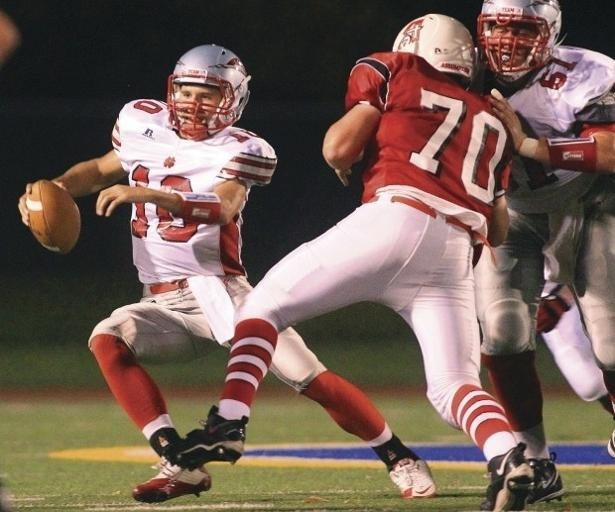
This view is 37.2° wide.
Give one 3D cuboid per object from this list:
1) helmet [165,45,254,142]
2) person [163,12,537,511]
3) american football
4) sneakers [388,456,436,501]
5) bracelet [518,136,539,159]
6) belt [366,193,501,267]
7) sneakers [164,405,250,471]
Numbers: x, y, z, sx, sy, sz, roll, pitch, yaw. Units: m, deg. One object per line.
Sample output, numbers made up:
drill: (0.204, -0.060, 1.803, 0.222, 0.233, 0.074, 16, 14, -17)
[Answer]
helmet: (-0.411, -0.693, 3.806, 0.398, 0.311, 0.399, 2, 13, -10)
person: (0.225, -0.020, 3.072, 1.011, 1.532, 1.056, 2, 19, 11)
american football: (-0.963, -0.152, 3.470, 0.198, 0.290, 0.182, -11, 21, -25)
sneakers: (0.380, 0.826, 3.411, 0.109, 0.068, 0.223, 9, 9, -20)
bracelet: (0.816, -0.405, 3.361, 0.084, 0.064, 0.027, 20, 3, 3)
belt: (0.482, -0.126, 3.189, 0.441, 0.239, 0.206, 9, 24, 5)
sneakers: (-0.306, 0.568, 2.889, 0.318, 0.172, 0.104, -13, -24, 29)
